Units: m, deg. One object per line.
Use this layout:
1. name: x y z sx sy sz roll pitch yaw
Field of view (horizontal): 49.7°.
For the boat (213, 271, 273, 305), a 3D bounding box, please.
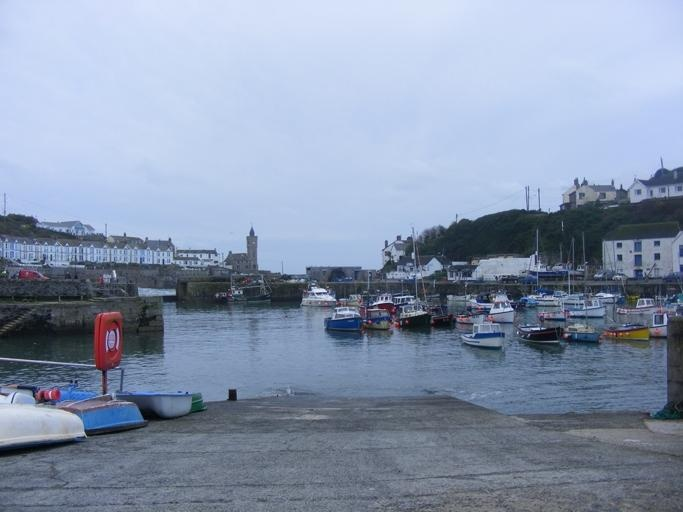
1. boat: -12.439 4.715 99.420 8.707 3.588 2.925 4 -6 -44
